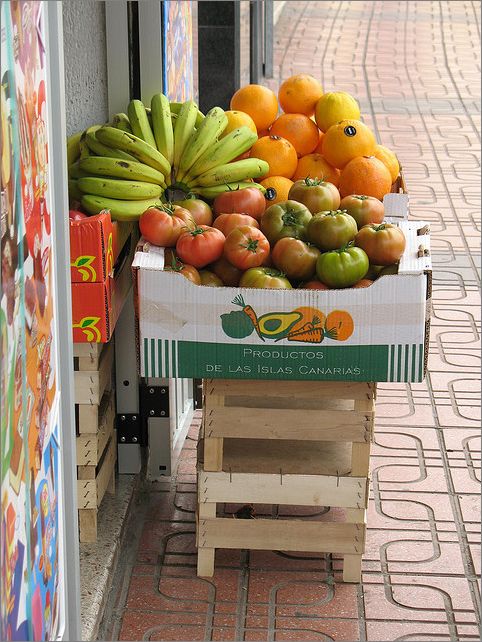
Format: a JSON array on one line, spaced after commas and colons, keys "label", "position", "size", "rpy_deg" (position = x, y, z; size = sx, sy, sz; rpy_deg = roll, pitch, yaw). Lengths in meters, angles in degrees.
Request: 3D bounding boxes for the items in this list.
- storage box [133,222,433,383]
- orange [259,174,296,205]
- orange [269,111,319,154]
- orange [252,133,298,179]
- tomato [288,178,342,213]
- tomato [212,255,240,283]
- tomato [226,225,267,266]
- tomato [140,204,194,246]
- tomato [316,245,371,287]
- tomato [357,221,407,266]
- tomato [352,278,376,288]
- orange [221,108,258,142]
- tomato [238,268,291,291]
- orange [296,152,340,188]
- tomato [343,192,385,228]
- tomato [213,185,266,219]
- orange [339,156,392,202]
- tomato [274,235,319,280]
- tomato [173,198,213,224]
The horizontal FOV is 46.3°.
[{"label": "storage box", "position": [0.122, 0.158, 1.984], "size": [0.871, 0.375, 0.654], "rpy_deg": [1, -26, -1]}, {"label": "orange", "position": [0.146, -0.537, 2.297], "size": [0.145, 0.146, 0.143], "rpy_deg": [-6, 21, -28]}, {"label": "orange", "position": [0.232, -0.802, 2.467], "size": [0.174, 0.188, 0.180], "rpy_deg": [-5, 30, -26]}, {"label": "orange", "position": [0.152, -0.691, 2.419], "size": [0.177, 0.181, 0.173], "rpy_deg": [-33, 36, -16]}, {"label": "tomato", "position": [0.273, -0.445, 2.090], "size": [0.156, 0.157, 0.150], "rpy_deg": [-14, 19, -42]}, {"label": "tomato", "position": [-0.042, -0.164, 1.888], "size": [0.076, 0.082, 0.081], "rpy_deg": [-21, 10, 31]}, {"label": "tomato", "position": [0.020, -0.225, 1.807], "size": [0.126, 0.124, 0.126], "rpy_deg": [15, -21, -19]}, {"label": "tomato", "position": [-0.246, -0.330, 1.887], "size": [0.146, 0.117, 0.155], "rpy_deg": [13, 23, 24]}, {"label": "tomato", "position": [0.318, -0.166, 1.722], "size": [0.177, 0.129, 0.137], "rpy_deg": [-3, 17, -1]}, {"label": "tomato", "position": [0.436, -0.237, 1.735], "size": [0.132, 0.106, 0.130], "rpy_deg": [1, 15, 2]}, {"label": "tomato", "position": [0.369, -0.111, 1.685], "size": [0.043, 0.043, 0.044], "rpy_deg": [-10, 0, 30]}, {"label": "orange", "position": [-0.009, -0.840, 2.411], "size": [0.137, 0.132, 0.141], "rpy_deg": [6, 29, -7]}, {"label": "tomato", "position": [0.073, -0.123, 1.702], "size": [0.093, 0.070, 0.097], "rpy_deg": [12, 20, 1]}, {"label": "orange", "position": [0.325, -0.650, 2.404], "size": [0.161, 0.164, 0.160], "rpy_deg": [-7, 18, -2]}, {"label": "tomato", "position": [0.422, -0.371, 1.933], "size": [0.123, 0.125, 0.125], "rpy_deg": [-1, 9, -3]}, {"label": "tomato", "position": [-0.005, -0.418, 2.058], "size": [0.140, 0.137, 0.134], "rpy_deg": [-3, 2, -40]}, {"label": "orange", "position": [0.482, -0.548, 2.248], "size": [0.168, 0.178, 0.180], "rpy_deg": [10, 33, 36]}, {"label": "tomato", "position": [0.173, -0.189, 1.807], "size": [0.130, 0.125, 0.125], "rpy_deg": [7, -3, -5]}, {"label": "tomato", "position": [-0.177, -0.405, 2.072], "size": [0.102, 0.107, 0.106], "rpy_deg": [-1, 14, 28]}]
